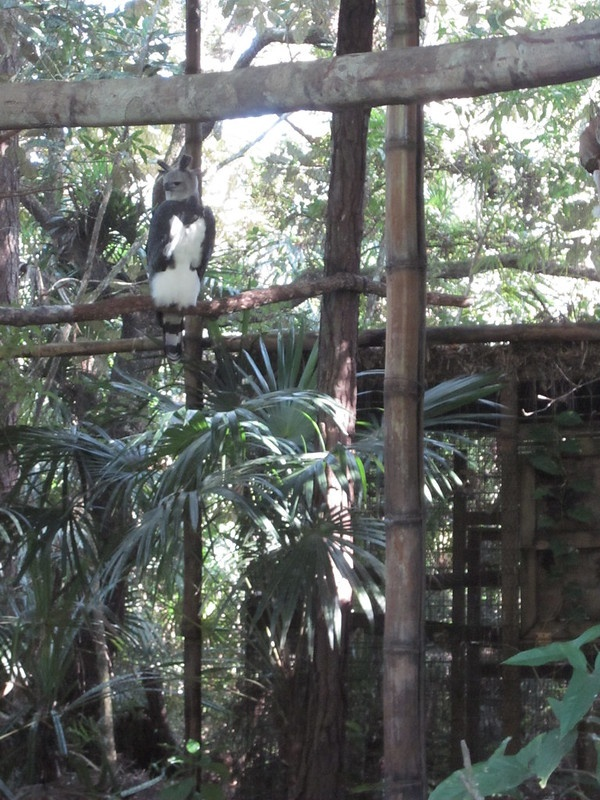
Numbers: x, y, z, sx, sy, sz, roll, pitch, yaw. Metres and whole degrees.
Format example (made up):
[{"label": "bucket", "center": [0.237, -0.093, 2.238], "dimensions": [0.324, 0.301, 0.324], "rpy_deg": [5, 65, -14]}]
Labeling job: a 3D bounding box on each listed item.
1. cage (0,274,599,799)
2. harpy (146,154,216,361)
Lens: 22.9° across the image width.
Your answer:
[{"label": "cage", "center": [0.099, 0.281, 5.650], "dimensions": [2.526, 1.834, 1.795], "rpy_deg": [6, -12, -35]}, {"label": "harpy", "center": [-0.512, -0.607, 6.129], "dimensions": [0.282, 0.918, 0.589], "rpy_deg": [0, -9, -1]}]
